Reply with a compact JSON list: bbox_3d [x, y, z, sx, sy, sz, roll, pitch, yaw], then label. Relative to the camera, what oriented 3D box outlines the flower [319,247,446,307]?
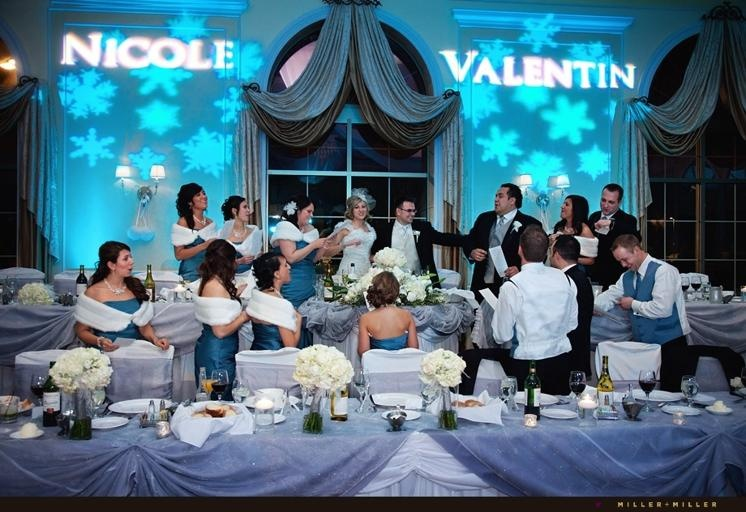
[{"bbox_3d":[0.035,0.251,6.223,0.715,0.340,0.704,-2,-1,24],"label":"flower"}]

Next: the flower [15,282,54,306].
[{"bbox_3d":[-3.380,0.371,6.735,0.232,0.183,0.273,2,-1,-35],"label":"flower"}]

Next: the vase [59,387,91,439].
[{"bbox_3d":[-1.785,0.939,4.068,0.272,0.294,0.158,1,1,43],"label":"vase"}]

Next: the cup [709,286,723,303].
[{"bbox_3d":[3.748,0.418,7.383,0.151,0.166,0.152,0,-6,0],"label":"cup"}]

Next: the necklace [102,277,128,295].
[{"bbox_3d":[-2.202,0.272,5.753,0.127,0.140,0.056,10,-41,-32],"label":"necklace"}]

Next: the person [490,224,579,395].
[{"bbox_3d":[1.211,0.402,5.039,0.639,1.256,0.251,0,1,0],"label":"person"}]

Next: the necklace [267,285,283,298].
[{"bbox_3d":[-0.801,0.299,5.579,0.125,0.130,0.079,14,12,-12],"label":"necklace"}]

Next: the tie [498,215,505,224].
[{"bbox_3d":[1.365,-0.390,7.153,0.053,0.073,0.052,-7,-9,35],"label":"tie"}]

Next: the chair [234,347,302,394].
[{"bbox_3d":[-0.729,0.796,4.764,0.339,0.450,0.359,1,0,-3],"label":"chair"}]

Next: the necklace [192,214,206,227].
[{"bbox_3d":[-1.825,-0.374,7.105,0.095,0.047,0.130,7,41,-13],"label":"necklace"}]

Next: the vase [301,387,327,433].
[{"bbox_3d":[-0.365,0.936,4.163,0.133,0.275,0.201,0,1,2],"label":"vase"}]

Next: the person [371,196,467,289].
[{"bbox_3d":[0.577,-0.132,7.560,1.176,1.293,0.462,-6,6,-37],"label":"person"}]

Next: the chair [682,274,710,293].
[{"bbox_3d":[3.759,0.307,7.855,0.238,0.140,0.359,-1,-5,11],"label":"chair"}]

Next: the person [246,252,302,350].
[{"bbox_3d":[-0.808,0.371,5.571,0.364,0.805,0.390,1,1,42],"label":"person"}]

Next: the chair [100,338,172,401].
[{"bbox_3d":[-1.742,0.847,5.080,0.408,0.540,0.421,1,-3,-10],"label":"chair"}]

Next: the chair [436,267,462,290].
[{"bbox_3d":[0.847,0.256,7.636,0.262,0.227,0.265,-1,-4,42],"label":"chair"}]

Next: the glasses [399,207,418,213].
[{"bbox_3d":[0.354,-0.466,6.943,0.130,0.047,0.057,0,1,-31],"label":"glasses"}]
